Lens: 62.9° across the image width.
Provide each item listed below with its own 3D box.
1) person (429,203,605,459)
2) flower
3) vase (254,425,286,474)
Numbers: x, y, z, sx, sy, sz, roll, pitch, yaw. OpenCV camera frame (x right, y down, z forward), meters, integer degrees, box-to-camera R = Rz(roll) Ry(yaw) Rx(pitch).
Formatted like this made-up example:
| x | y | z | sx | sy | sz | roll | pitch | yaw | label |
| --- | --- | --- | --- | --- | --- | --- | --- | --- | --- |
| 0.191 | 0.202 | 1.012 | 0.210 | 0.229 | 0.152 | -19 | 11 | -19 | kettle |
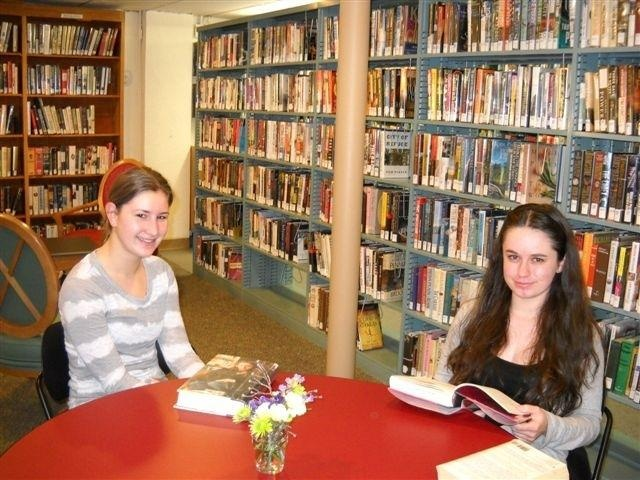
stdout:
| x | y | z | sx | sy | sz | roll | pitch | yaw | label |
| --- | --- | --- | --- | --- | --- | --- | --- | --- | --- |
| 0.750 | 0.410 | 2.006 | 0.612 | 1.025 | 0.581 | 8 | 5 | 40 | person |
| -0.130 | 0.440 | 1.400 | 0.222 | 0.272 | 0.245 | 0 | 8 | -9 | flower |
| -0.127 | 0.526 | 1.334 | 0.083 | 0.175 | 0.091 | -1 | 14 | -8 | vase |
